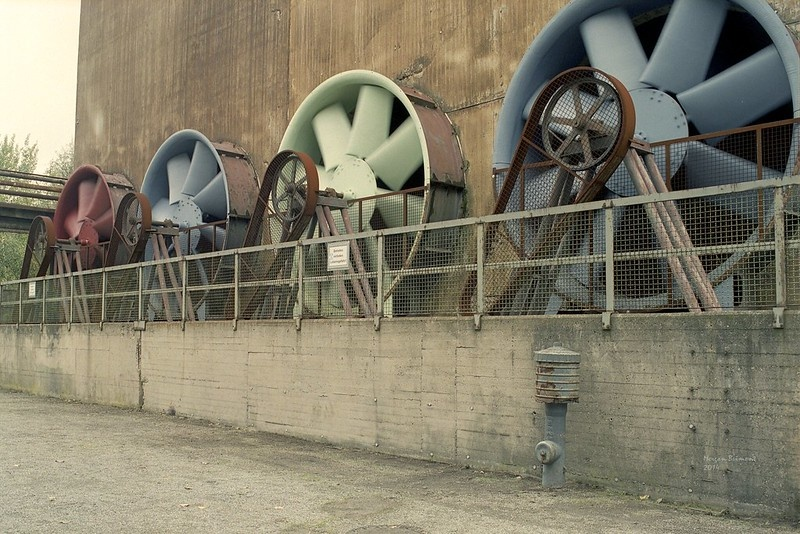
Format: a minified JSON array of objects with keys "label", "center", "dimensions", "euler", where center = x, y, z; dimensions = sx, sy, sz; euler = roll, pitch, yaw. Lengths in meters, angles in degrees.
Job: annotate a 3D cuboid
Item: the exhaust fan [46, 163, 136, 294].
[{"label":"exhaust fan","center":[-10.159,-1.228,27.858],"dimensions":[1.421,4.654,3.945],"euler":[15,-14,-38]}]
